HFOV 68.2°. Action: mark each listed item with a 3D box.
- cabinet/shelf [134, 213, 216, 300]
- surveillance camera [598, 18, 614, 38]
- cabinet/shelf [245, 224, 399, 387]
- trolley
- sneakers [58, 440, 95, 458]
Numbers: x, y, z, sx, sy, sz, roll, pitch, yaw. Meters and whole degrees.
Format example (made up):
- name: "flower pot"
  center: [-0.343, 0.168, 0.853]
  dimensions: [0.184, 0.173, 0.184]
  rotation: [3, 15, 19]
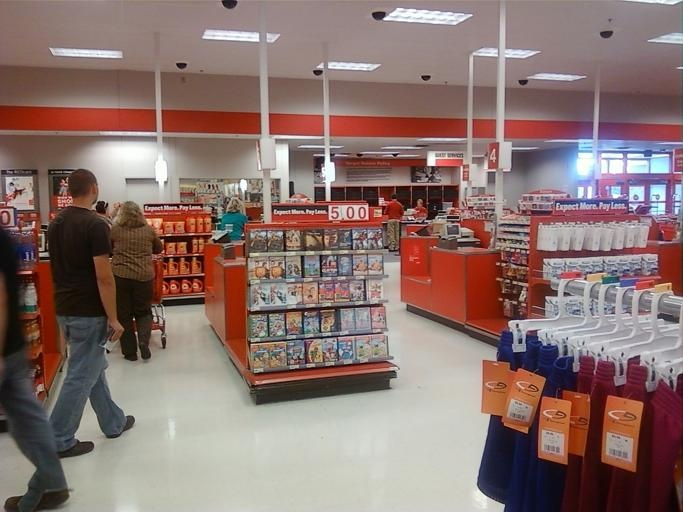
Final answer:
- name: "cabinet/shelf"
  center: [-2.733, 0.013, 8.237]
  dimensions: [1.476, 2.090, 0.773]
  rotation: [-2, 6, -21]
- name: "surveillance camera"
  center: [5.308, -4.509, 10.045]
  dimensions: [0.202, 0.236, 0.291]
  rotation: [-1, 11, -1]
- name: "cabinet/shelf"
  center: [-0.258, 0.494, 5.036]
  dimensions: [1.587, 1.525, 0.579]
  rotation: [-1, 2, -13]
- name: "trolley"
  center: [-2.743, 0.604, 6.898]
  dimensions: [0.672, 1.104, 0.793]
  rotation: [-4, -10, -14]
- name: "sneakers"
  center: [-2.113, 1.512, 4.005]
  dimensions: [0.230, 0.098, 0.083]
  rotation: [-5, 12, -28]
